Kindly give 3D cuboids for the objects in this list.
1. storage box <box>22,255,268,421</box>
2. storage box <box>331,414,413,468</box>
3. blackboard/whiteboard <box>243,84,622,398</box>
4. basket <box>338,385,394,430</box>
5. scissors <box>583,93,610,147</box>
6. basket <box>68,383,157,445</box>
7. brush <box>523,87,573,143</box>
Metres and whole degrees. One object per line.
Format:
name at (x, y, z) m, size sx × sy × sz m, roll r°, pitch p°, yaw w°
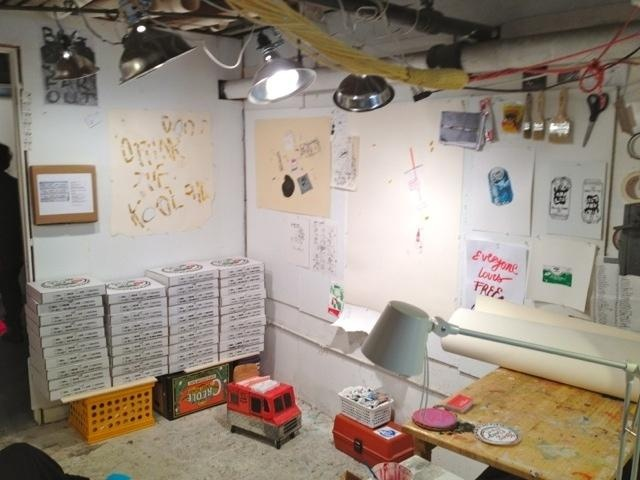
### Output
storage box at (-1.692, 0.947, 4.314) m, size 1.596 × 0.674 × 0.456 m, roll -8°, pitch 15°, yaw -33°
storage box at (0.430, 1.700, 3.887) m, size 0.630 × 0.296 × 0.336 m, roll 8°, pitch 7°, yaw 43°
blackboard/whiteboard at (0.842, -0.022, 3.367) m, size 3.090 × 2.113 × 0.036 m, roll 12°, pitch 17°, yaw 42°
basket at (0.391, 1.414, 3.906) m, size 0.295 × 0.191 × 0.440 m, roll -5°, pitch 6°, yaw -43°
scissors at (1.654, -0.734, 2.754) m, size 0.020 × 0.235 × 0.105 m, roll -3°, pitch 22°, yaw -40°
basket at (-1.872, 1.589, 4.210) m, size 0.585 × 0.337 × 0.579 m, roll -8°, pitch 13°, yaw -39°
brush at (1.450, -0.798, 2.894) m, size 0.040 × 0.343 × 0.333 m, roll -25°, pitch 32°, yaw -36°
